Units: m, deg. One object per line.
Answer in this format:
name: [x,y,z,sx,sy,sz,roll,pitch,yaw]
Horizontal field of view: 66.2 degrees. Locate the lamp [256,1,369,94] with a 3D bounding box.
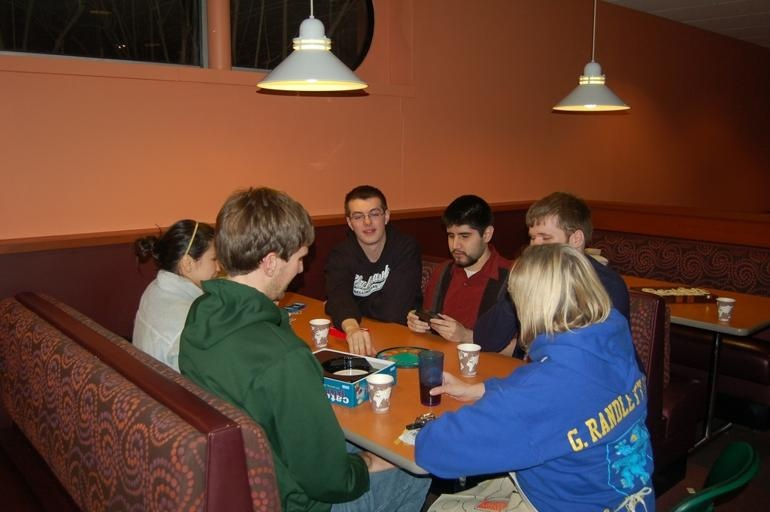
lamp: [-0.385,-0.955,3.164,0.559,0.624,0.586,-2,7,-11]

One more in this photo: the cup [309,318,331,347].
cup: [-0.313,0.383,2.944,0.113,0.122,0.119,-1,0,0]

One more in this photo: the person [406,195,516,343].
person: [0.455,0.163,3.435,0.626,0.998,0.669,-1,7,-14]

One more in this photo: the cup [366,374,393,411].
cup: [-0.017,0.574,2.401,0.114,0.124,0.121,1,-9,0]

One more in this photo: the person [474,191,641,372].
person: [0.788,0.108,3.270,0.761,1.207,0.835,3,2,-19]

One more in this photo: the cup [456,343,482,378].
cup: [0.368,0.457,2.624,0.124,0.130,0.129,0,4,0]

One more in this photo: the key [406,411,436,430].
key: [0.137,0.641,2.293,0.073,0.026,0.056,-22,6,6]

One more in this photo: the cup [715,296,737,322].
cup: [1.924,0.302,3.333,0.121,0.136,0.123,1,-2,0]
